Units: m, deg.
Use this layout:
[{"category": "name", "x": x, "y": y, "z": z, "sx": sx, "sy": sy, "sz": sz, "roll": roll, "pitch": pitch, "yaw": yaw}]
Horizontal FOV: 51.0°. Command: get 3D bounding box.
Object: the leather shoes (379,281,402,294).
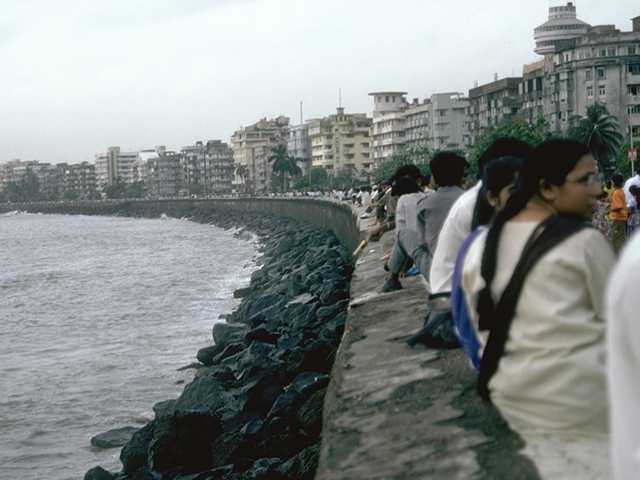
[{"category": "leather shoes", "x": 0.721, "y": 0.473, "z": 6.744, "sx": 0.185, "sy": 0.132, "sz": 0.112, "roll": 2, "pitch": -3, "yaw": -27}]
